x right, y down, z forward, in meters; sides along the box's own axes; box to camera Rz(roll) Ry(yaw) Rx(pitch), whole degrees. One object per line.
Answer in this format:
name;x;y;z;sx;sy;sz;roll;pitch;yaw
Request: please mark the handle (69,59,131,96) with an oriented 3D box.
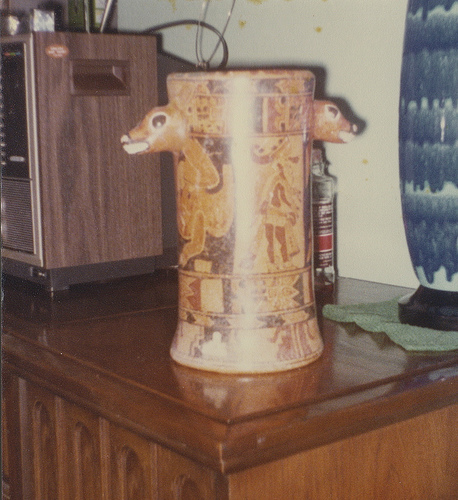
handle;-0.207;-0.275;1.095;0.104;0.055;0.009;-8;11;-35
